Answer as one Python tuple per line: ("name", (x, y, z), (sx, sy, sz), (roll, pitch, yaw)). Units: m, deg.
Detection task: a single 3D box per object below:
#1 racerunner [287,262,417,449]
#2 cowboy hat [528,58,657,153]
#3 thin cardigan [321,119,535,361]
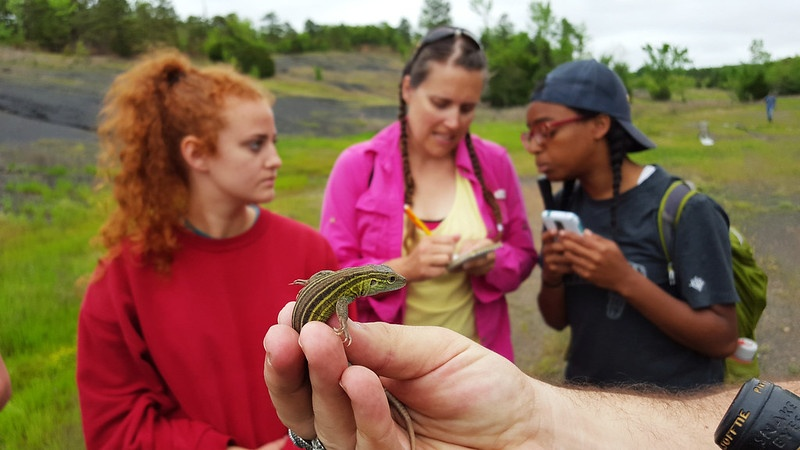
("racerunner", (-0.569, 1.422, 6.334), (0.971, 2.076, 0.939), (2, 1, -17))
("cowboy hat", (2.371, -1.482, 7.602), (1.467, 0.892, 0.948), (18, -2, 5))
("thin cardigan", (0.388, 0.321, 7.642), (2.421, 2.946, 1.616), (0, 19, 6))
